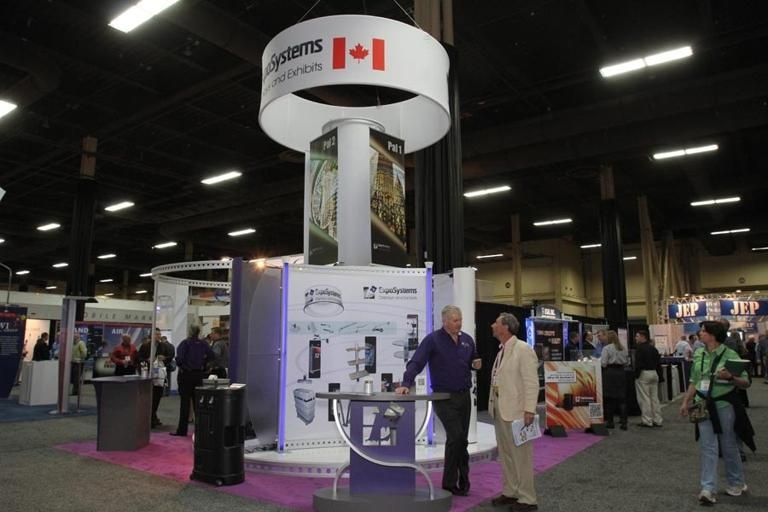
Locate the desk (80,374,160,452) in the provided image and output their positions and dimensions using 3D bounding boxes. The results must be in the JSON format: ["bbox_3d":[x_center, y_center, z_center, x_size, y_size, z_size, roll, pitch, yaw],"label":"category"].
[{"bbox_3d":[-4.349,2.476,9.416,1.400,1.411,0.944,0,-1,0],"label":"desk"}]

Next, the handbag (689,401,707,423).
[{"bbox_3d":[3.888,1.894,6.979,0.127,0.242,0.221,25,-16,-15],"label":"handbag"}]

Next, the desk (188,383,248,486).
[{"bbox_3d":[-2.188,2.407,7.780,0.684,1.213,0.753,-7,-13,33],"label":"desk"}]

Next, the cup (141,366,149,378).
[{"bbox_3d":[-4.059,1.932,9.573,0.124,0.149,0.128,0,-8,0],"label":"cup"}]

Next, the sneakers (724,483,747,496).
[{"bbox_3d":[4.459,2.914,7.153,0.274,0.144,0.116,10,-13,-26],"label":"sneakers"}]

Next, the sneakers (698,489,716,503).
[{"bbox_3d":[3.921,2.871,6.840,0.107,0.114,0.242,-5,-12,28],"label":"sneakers"}]
